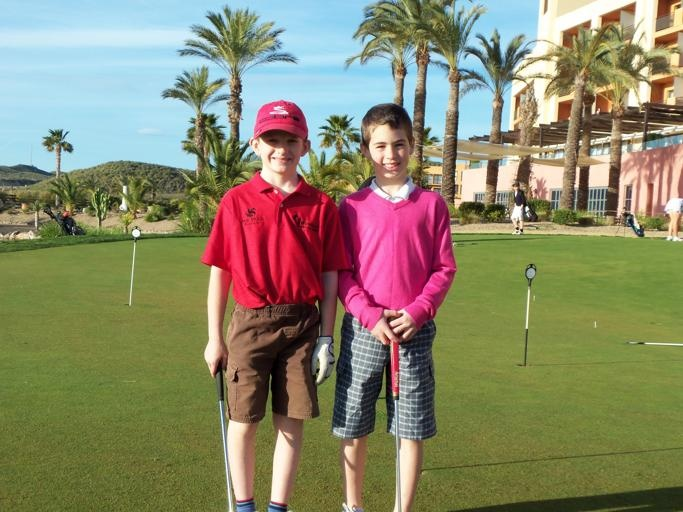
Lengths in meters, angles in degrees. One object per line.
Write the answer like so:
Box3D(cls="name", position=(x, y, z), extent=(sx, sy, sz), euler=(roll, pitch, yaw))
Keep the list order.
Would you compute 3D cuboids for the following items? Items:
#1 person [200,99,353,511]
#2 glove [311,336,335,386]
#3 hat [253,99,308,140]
Box3D(cls="person", position=(-0.398, 0.292, 3.873), extent=(0.895, 2.497, 0.636), euler=(-3, 7, -14))
Box3D(cls="glove", position=(-0.111, 0.638, 3.840), extent=(0.157, 0.266, 0.107), euler=(-2, 0, -2))
Box3D(cls="hat", position=(-0.391, -0.868, 3.990), extent=(0.353, 0.277, 0.519), euler=(-2, 10, 0))
